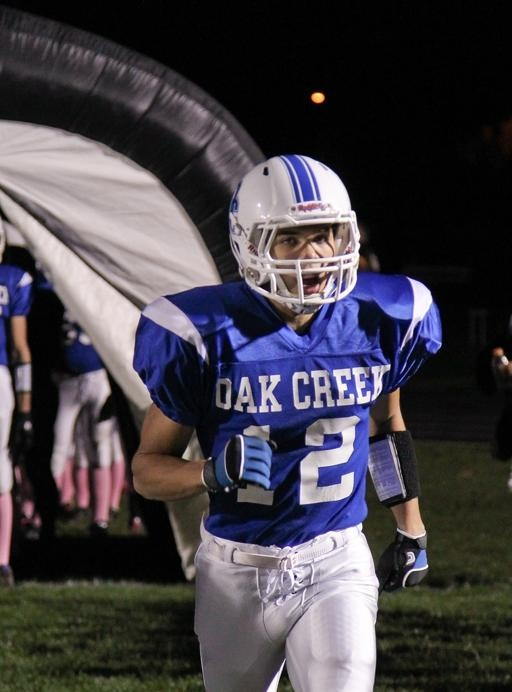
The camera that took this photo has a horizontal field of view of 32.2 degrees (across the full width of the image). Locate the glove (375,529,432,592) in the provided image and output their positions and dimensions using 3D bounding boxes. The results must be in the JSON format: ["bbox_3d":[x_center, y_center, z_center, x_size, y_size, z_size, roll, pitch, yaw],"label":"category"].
[{"bbox_3d":[0.383,0.569,2.370,0.111,0.156,0.175,21,-31,-38],"label":"glove"}]

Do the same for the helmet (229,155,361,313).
[{"bbox_3d":[0.083,-0.280,2.137,0.324,0.334,0.381,-1,14,-2],"label":"helmet"}]

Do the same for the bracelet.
[{"bbox_3d":[0.380,0.326,2.354,0.126,0.186,0.135,5,-25,-40],"label":"bracelet"}]

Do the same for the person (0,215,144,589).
[{"bbox_3d":[-0.846,0.268,3.971,0.447,1.177,0.320,-3,0,-39],"label":"person"}]
